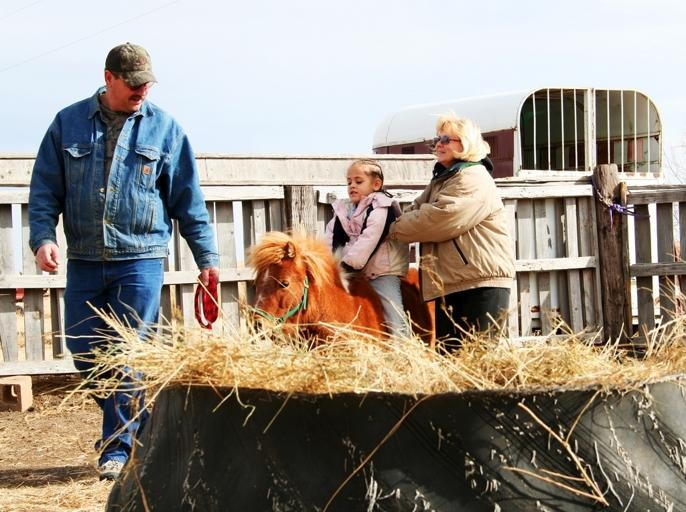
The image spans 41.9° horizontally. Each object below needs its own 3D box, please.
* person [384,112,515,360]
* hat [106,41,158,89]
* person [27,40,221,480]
[{"bbox_3d":[0.662,0.102,5.436,0.599,1.892,0.557,2,3,41],"label":"person"},{"bbox_3d":[-1.148,-1.069,4.957,0.312,0.211,0.219,23,21,33],"label":"hat"},{"bbox_3d":[-1.223,-0.373,5.063,1.014,1.606,0.455,-3,11,-21],"label":"person"}]
